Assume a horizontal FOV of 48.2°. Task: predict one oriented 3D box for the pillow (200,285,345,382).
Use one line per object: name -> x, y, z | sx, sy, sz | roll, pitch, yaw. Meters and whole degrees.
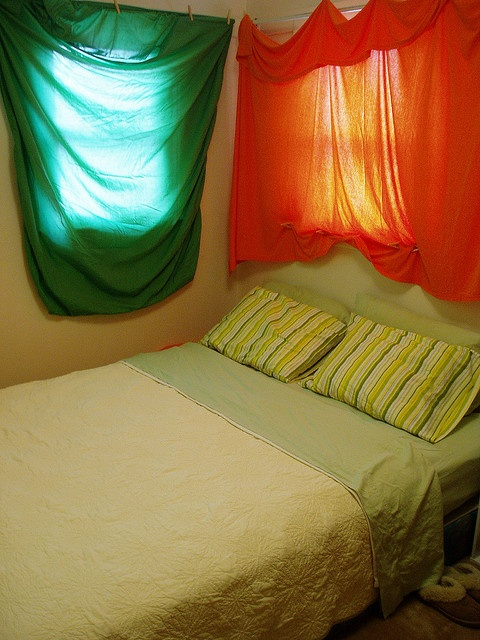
pillow -> 0.191, 0.080, 2.607 | 0.500, 0.152, 0.625 | -35, 37, -30
